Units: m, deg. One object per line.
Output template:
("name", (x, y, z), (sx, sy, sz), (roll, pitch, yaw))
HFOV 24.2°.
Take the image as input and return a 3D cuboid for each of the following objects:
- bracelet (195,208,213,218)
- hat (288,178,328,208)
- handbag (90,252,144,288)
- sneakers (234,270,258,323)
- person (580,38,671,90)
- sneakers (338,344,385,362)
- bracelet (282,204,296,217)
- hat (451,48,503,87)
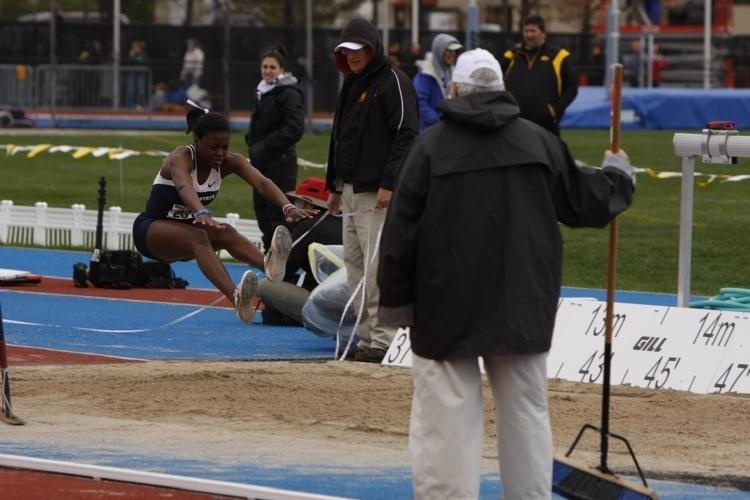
("bracelet", (-1.902, -0.402, 19.365), (0.187, 0.094, 0.222), (0, 6, -6))
("hat", (-0.744, -0.673, 20.735), (0.443, 0.205, 0.322), (22, 5, 7))
("handbag", (-3.338, 0.263, 22.515), (0.621, 0.417, 0.499), (1, 5, -1))
("sneakers", (-1.404, 0.564, 19.612), (0.222, 0.611, 0.255), (-3, 12, -35))
("person", (4.994, -3.704, 35.150), (1.030, 0.431, 1.349), (0, 0, -25))
("sneakers", (-0.103, 1.188, 19.647), (0.594, 0.234, 0.192), (6, -1, 6))
("bracelet", (-0.961, -0.447, 19.668), (0.126, 0.079, 0.159), (-17, -16, -21))
("hat", (0.993, -1.755, 16.994), (0.345, 0.247, 0.468), (2, 6, -3))
